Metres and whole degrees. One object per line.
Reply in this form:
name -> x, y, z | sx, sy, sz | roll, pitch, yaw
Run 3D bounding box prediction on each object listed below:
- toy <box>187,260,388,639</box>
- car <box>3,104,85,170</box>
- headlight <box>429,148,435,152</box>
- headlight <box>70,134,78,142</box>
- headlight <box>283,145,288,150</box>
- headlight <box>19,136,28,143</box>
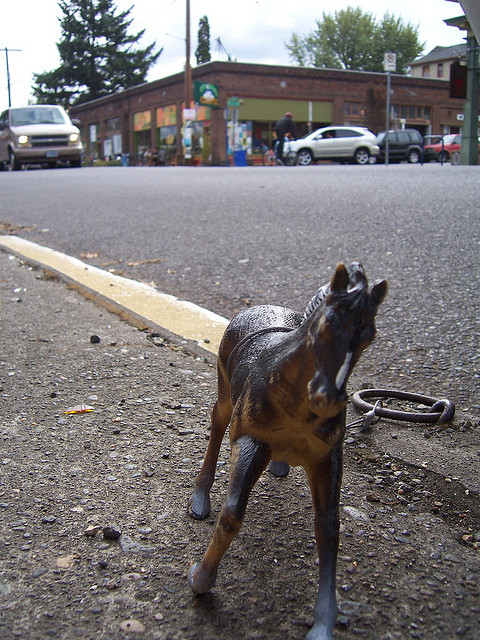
toy -> 0.055, 0.209, 1.200 | 0.333, 0.678, 0.652 | -2, 11, -4
car -> -5.570, -5.173, 18.035 | 1.951, 1.753, 1.950 | -5, 11, -19
headlight -> 8.629, -7.639, 28.967 | 0.365, 0.121, 0.102 | -9, 13, -38
headlight -> -4.514, -4.948, 17.474 | 0.208, 0.188, 0.114 | -4, 11, -16
headlight -> 1.637, -6.182, 22.958 | 0.117, 0.162, 0.284 | 3, 11, 23
headlight -> -5.823, -4.862, 17.291 | 0.247, 0.170, 0.054 | 3, 12, 20
